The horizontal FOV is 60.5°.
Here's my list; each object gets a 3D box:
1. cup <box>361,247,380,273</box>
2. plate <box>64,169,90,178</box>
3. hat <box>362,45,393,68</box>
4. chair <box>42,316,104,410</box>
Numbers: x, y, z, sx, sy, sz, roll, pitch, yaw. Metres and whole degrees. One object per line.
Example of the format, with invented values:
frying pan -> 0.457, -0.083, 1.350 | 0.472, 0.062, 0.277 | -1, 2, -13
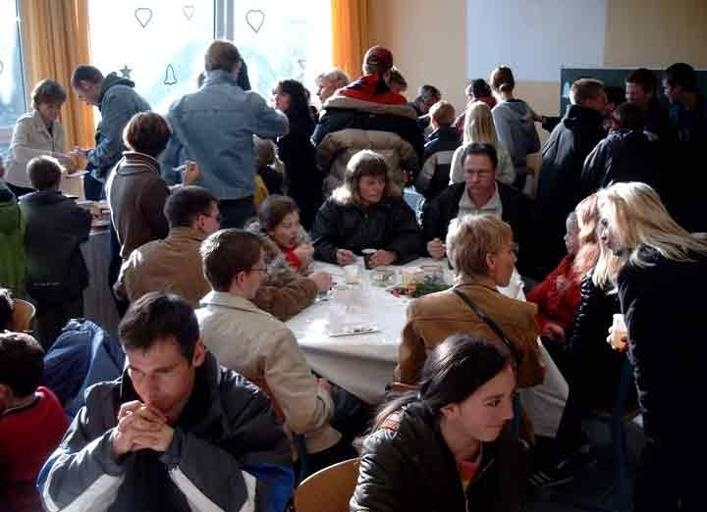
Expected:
cup -> 0.084, 0.029, 3.436 | 0.099, 0.106, 0.093 | -2, 10, 0
plate -> -2.066, -0.622, 4.536 | 0.208, 0.063, 0.222 | 4, 9, 44
hat -> 0.199, -1.416, 4.357 | 0.191, 0.145, 0.271 | 8, 24, 22
chair -> -1.173, 0.470, 2.645 | 0.250, 0.373, 0.117 | 4, -14, 21
